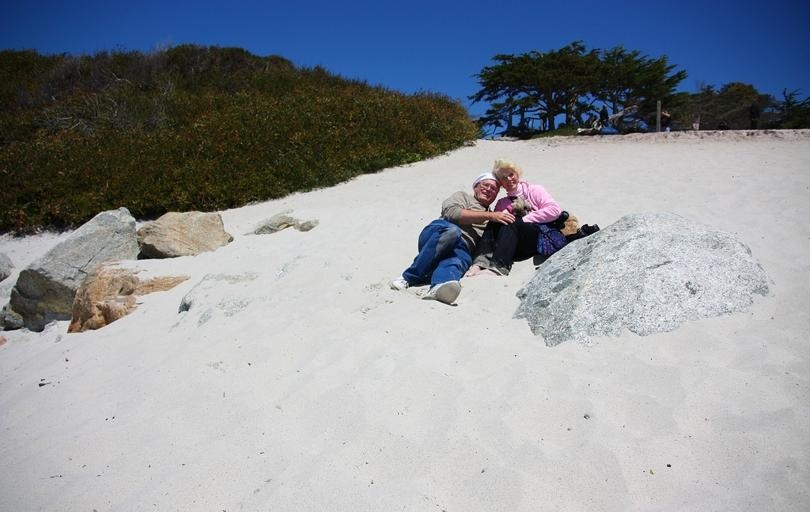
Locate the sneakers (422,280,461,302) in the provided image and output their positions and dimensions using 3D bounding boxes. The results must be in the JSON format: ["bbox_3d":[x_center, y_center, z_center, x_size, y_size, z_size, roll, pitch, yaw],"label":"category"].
[{"bbox_3d":[0.569,0.517,7.275,0.597,0.225,0.254,-21,18,23],"label":"sneakers"}]

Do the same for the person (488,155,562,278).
[{"bbox_3d":[1.838,-0.523,8.520,1.279,1.067,2.138,6,67,-5],"label":"person"}]

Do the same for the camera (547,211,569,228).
[{"bbox_3d":[2.423,-0.578,8.270,0.216,0.212,0.130,-17,52,-27],"label":"camera"}]

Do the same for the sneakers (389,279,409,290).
[{"bbox_3d":[-0.087,0.442,7.793,0.280,0.092,0.273,1,26,3],"label":"sneakers"}]

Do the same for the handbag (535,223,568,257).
[{"bbox_3d":[2.377,-0.355,8.260,0.416,0.335,0.581,-11,55,21],"label":"handbag"}]
